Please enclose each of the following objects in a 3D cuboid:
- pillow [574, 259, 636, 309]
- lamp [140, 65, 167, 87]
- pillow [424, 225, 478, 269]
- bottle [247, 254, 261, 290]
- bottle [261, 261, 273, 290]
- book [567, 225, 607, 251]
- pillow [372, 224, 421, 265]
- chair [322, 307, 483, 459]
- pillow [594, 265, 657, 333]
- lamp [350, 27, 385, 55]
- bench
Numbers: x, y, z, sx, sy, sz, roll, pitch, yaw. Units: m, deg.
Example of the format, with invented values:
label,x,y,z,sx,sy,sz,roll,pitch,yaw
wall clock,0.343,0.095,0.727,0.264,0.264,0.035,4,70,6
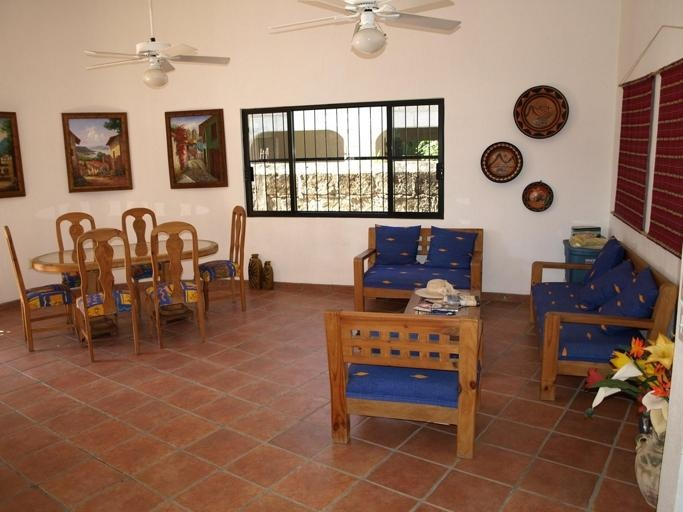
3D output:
label,x,y,z,sx,sy,sz,roll,pitch,yaw
pillow,2.403,0.176,4.387,0.420,0.388,0.116,7,31,-6
lamp,-1.889,-1.740,4.879,0.196,0.259,0.193,3,-5,-32
pillow,1.405,-0.092,6.342,0.590,0.489,0.306,8,15,25
bottle,-1.315,0.219,7.429,0.225,0.513,0.235,-2,12,0
bottle,-1.136,0.279,7.376,0.182,0.422,0.185,-2,12,0
book,2.887,-0.224,5.754,0.344,0.210,0.348,4,14,24
pillow,0.738,-0.150,6.577,0.635,0.564,0.234,1,6,-3
chair,0.676,0.983,4.004,1.230,0.904,1.541,0,-10,17
pillow,2.357,0.297,4.007,0.392,0.391,0.417,5,14,31
lamp,0.214,-1.581,3.701,0.283,0.205,0.307,-2,11,3
bench,1.015,0.190,6.236,1.521,1.041,0.830,2,12,18
